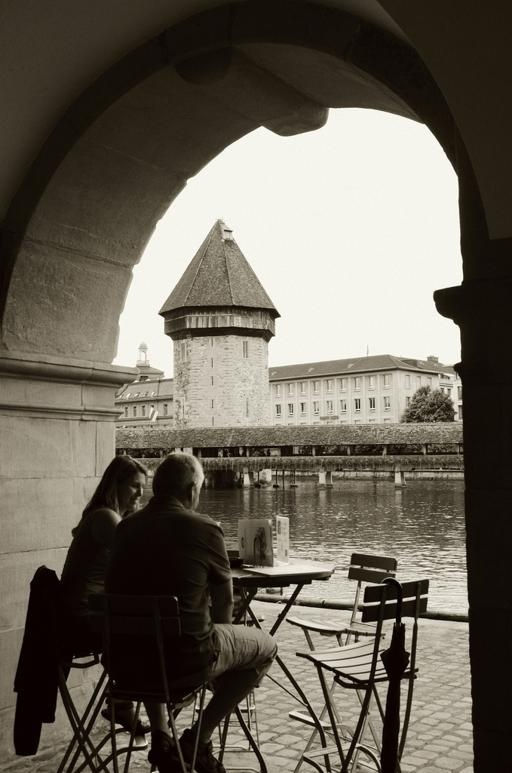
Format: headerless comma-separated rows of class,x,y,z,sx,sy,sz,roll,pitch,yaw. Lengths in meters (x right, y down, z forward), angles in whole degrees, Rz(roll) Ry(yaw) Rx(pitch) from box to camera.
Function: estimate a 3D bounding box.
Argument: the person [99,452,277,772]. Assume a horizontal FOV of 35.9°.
person,-0.255,0.815,2.869,0.392,1.158,0.717,-3,-7,26
